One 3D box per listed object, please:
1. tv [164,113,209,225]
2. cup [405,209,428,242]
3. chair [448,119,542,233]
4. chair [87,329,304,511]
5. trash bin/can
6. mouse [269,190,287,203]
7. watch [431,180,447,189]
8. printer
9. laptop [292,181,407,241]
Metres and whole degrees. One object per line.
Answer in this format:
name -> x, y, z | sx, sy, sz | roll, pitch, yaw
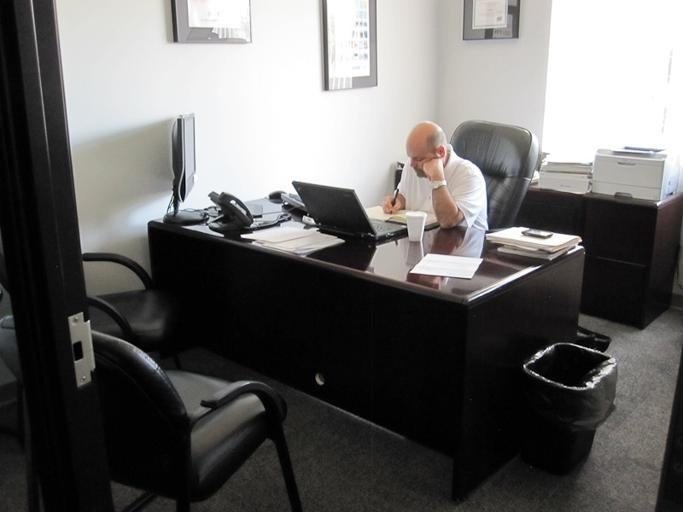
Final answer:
tv -> -0.916, -0.523, 3.065 | 0.242, 0.611, 0.511 | 2, 20, -3
cup -> 0.358, -0.140, 2.582 | 0.118, 0.145, 0.125 | 0, 7, 0
chair -> 0.935, -0.530, 3.243 | 0.503, 0.765, 0.626 | 15, 20, 40
chair -> -0.467, 0.582, 1.801 | 0.490, 0.813, 0.488 | 19, 29, 36
trash bin/can -> 0.960, 0.662, 2.233 | 0.319, 0.479, 0.404 | 18, 28, 40
mouse -> -0.411, -0.388, 3.380 | 0.105, 0.069, 0.081 | -11, 33, -6
watch -> 0.522, -0.376, 2.765 | 0.056, 0.046, 0.058 | -5, 1, -21
printer -> 1.899, -0.623, 3.347 | 0.401, 0.312, 0.401 | 15, 23, 41
laptop -> 0.007, -0.308, 2.565 | 0.384, 0.282, 0.378 | 18, 29, 40
